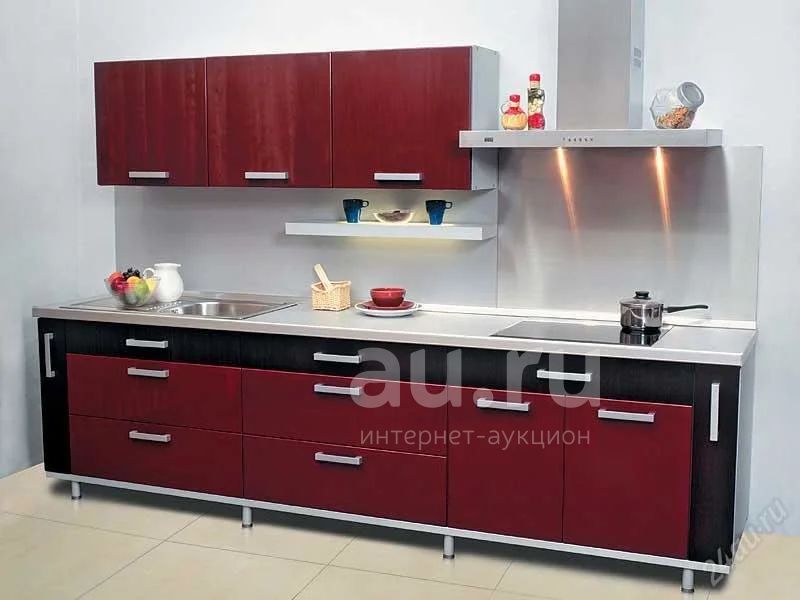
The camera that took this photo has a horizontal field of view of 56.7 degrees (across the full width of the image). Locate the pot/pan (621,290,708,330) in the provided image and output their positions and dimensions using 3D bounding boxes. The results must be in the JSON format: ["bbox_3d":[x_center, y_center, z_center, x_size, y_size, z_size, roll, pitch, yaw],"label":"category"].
[{"bbox_3d":[1.255,0.060,3.495,0.356,0.148,0.203,1,5,23],"label":"pot/pan"}]

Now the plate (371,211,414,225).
[{"bbox_3d":[-0.040,-0.450,4.019,0.210,0.063,0.163,1,12,9],"label":"plate"}]

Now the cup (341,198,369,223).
[{"bbox_3d":[-0.257,-0.495,4.141,0.105,0.138,0.161,-2,-4,36],"label":"cup"}]

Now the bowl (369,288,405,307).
[{"bbox_3d":[-0.067,-0.014,3.937,0.163,0.092,0.121,0,12,3],"label":"bowl"}]

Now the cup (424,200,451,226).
[{"bbox_3d":[0.199,-0.452,3.963,0.155,0.127,0.122,0,-1,3],"label":"cup"}]

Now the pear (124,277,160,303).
[{"bbox_3d":[-1.459,-0.051,4.188,0.159,0.102,0.158,0,0,26],"label":"pear"}]

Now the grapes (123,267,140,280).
[{"bbox_3d":[-1.550,-0.147,4.254,0.103,0.042,0.081,3,9,31],"label":"grapes"}]

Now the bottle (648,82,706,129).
[{"bbox_3d":[1.271,-0.893,3.403,0.275,0.265,0.170,6,4,33],"label":"bottle"}]

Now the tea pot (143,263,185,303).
[{"bbox_3d":[-1.352,-0.089,4.308,0.262,0.240,0.199,0,4,-6],"label":"tea pot"}]

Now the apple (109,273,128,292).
[{"bbox_3d":[-1.587,-0.096,4.180,0.095,0.061,0.106,3,-9,-4],"label":"apple"}]

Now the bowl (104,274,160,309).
[{"bbox_3d":[-1.503,-0.048,4.210,0.218,0.145,0.217,0,1,0],"label":"bowl"}]
